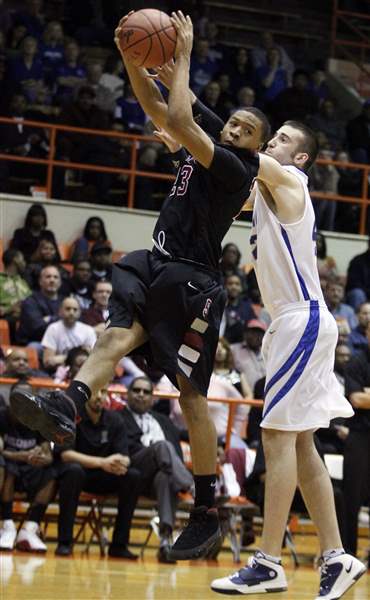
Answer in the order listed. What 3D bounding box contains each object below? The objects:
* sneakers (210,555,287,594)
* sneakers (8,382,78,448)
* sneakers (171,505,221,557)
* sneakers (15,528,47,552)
[{"bbox_3d":[0.195,0.984,2.610,0.336,0.183,0.119,1,-4,-2],"label":"sneakers"},{"bbox_3d":[-0.459,0.349,2.325,0.241,0.111,0.167,40,26,-15],"label":"sneakers"},{"bbox_3d":[0.037,0.861,2.666,0.107,0.149,0.323,-3,2,32],"label":"sneakers"},{"bbox_3d":[-0.683,1.068,3.187,0.147,0.103,0.076,6,-7,0],"label":"sneakers"}]
